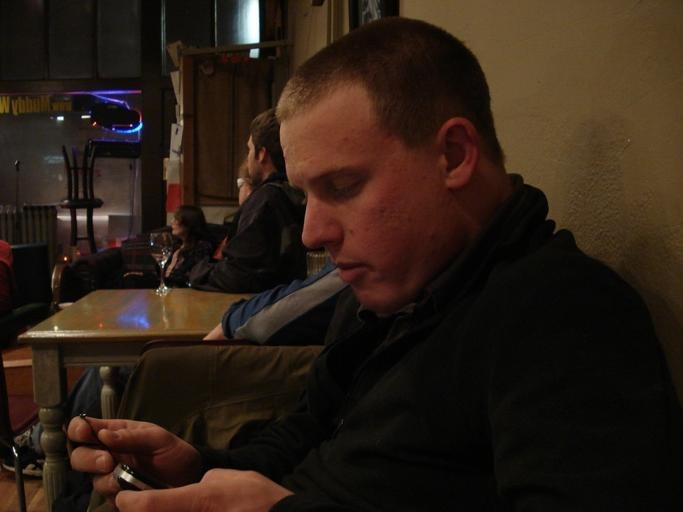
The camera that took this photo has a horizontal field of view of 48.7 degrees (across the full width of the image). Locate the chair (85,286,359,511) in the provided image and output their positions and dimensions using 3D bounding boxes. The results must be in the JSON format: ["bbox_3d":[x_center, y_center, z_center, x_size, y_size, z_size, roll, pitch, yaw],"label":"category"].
[{"bbox_3d":[-0.310,0.334,2.022,0.534,0.738,0.520,6,-12,-8],"label":"chair"}]

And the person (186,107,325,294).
[{"bbox_3d":[-0.325,-0.103,3.010,0.525,0.852,0.690,1,-6,8],"label":"person"}]

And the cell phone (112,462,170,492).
[{"bbox_3d":[-0.370,0.404,1.352,0.058,0.015,0.061,26,-9,-4],"label":"cell phone"}]
